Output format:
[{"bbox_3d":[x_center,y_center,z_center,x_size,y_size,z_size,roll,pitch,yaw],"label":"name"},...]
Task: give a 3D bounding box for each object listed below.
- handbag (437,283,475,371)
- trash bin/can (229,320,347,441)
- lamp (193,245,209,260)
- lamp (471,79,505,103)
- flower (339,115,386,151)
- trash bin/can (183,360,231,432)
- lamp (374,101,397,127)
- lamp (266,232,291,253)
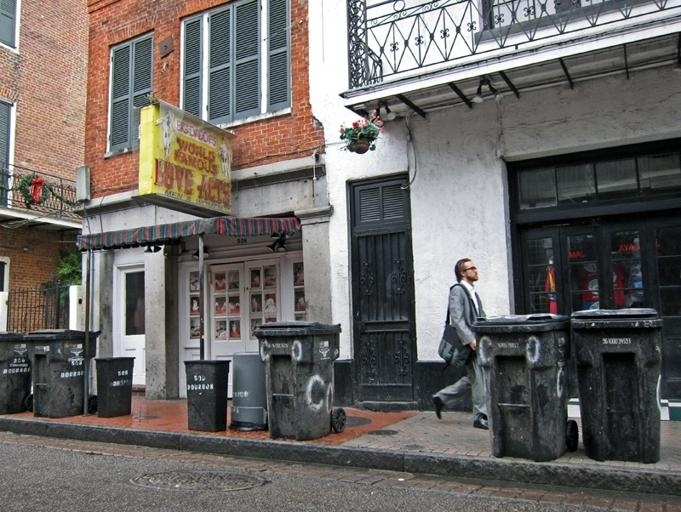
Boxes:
[{"bbox_3d":[1.655,1.180,11.139,0.287,0.868,0.588,-9,12,-30],"label":"handbag"},{"bbox_3d":[-0.689,1.866,11.485,1.448,1.593,1.662,-4,-9,33],"label":"trash bin/can"},{"bbox_3d":[-2.845,-0.083,15.675,0.254,0.307,0.525,-11,13,-36],"label":"lamp"},{"bbox_3d":[2.337,-2.634,12.110,0.466,0.370,0.977,-1,11,11],"label":"lamp"},{"bbox_3d":[0.364,-2.031,12.788,0.624,0.507,0.648,-1,0,-1],"label":"flower"},{"bbox_3d":[-2.026,2.104,11.561,0.684,1.026,0.574,-4,10,-3],"label":"trash bin/can"},{"bbox_3d":[0.728,-2.379,12.867,0.324,0.441,0.623,0,-11,-2],"label":"lamp"},{"bbox_3d":[-1.196,-0.272,14.670,0.403,0.437,0.738,-4,11,-7],"label":"lamp"}]
